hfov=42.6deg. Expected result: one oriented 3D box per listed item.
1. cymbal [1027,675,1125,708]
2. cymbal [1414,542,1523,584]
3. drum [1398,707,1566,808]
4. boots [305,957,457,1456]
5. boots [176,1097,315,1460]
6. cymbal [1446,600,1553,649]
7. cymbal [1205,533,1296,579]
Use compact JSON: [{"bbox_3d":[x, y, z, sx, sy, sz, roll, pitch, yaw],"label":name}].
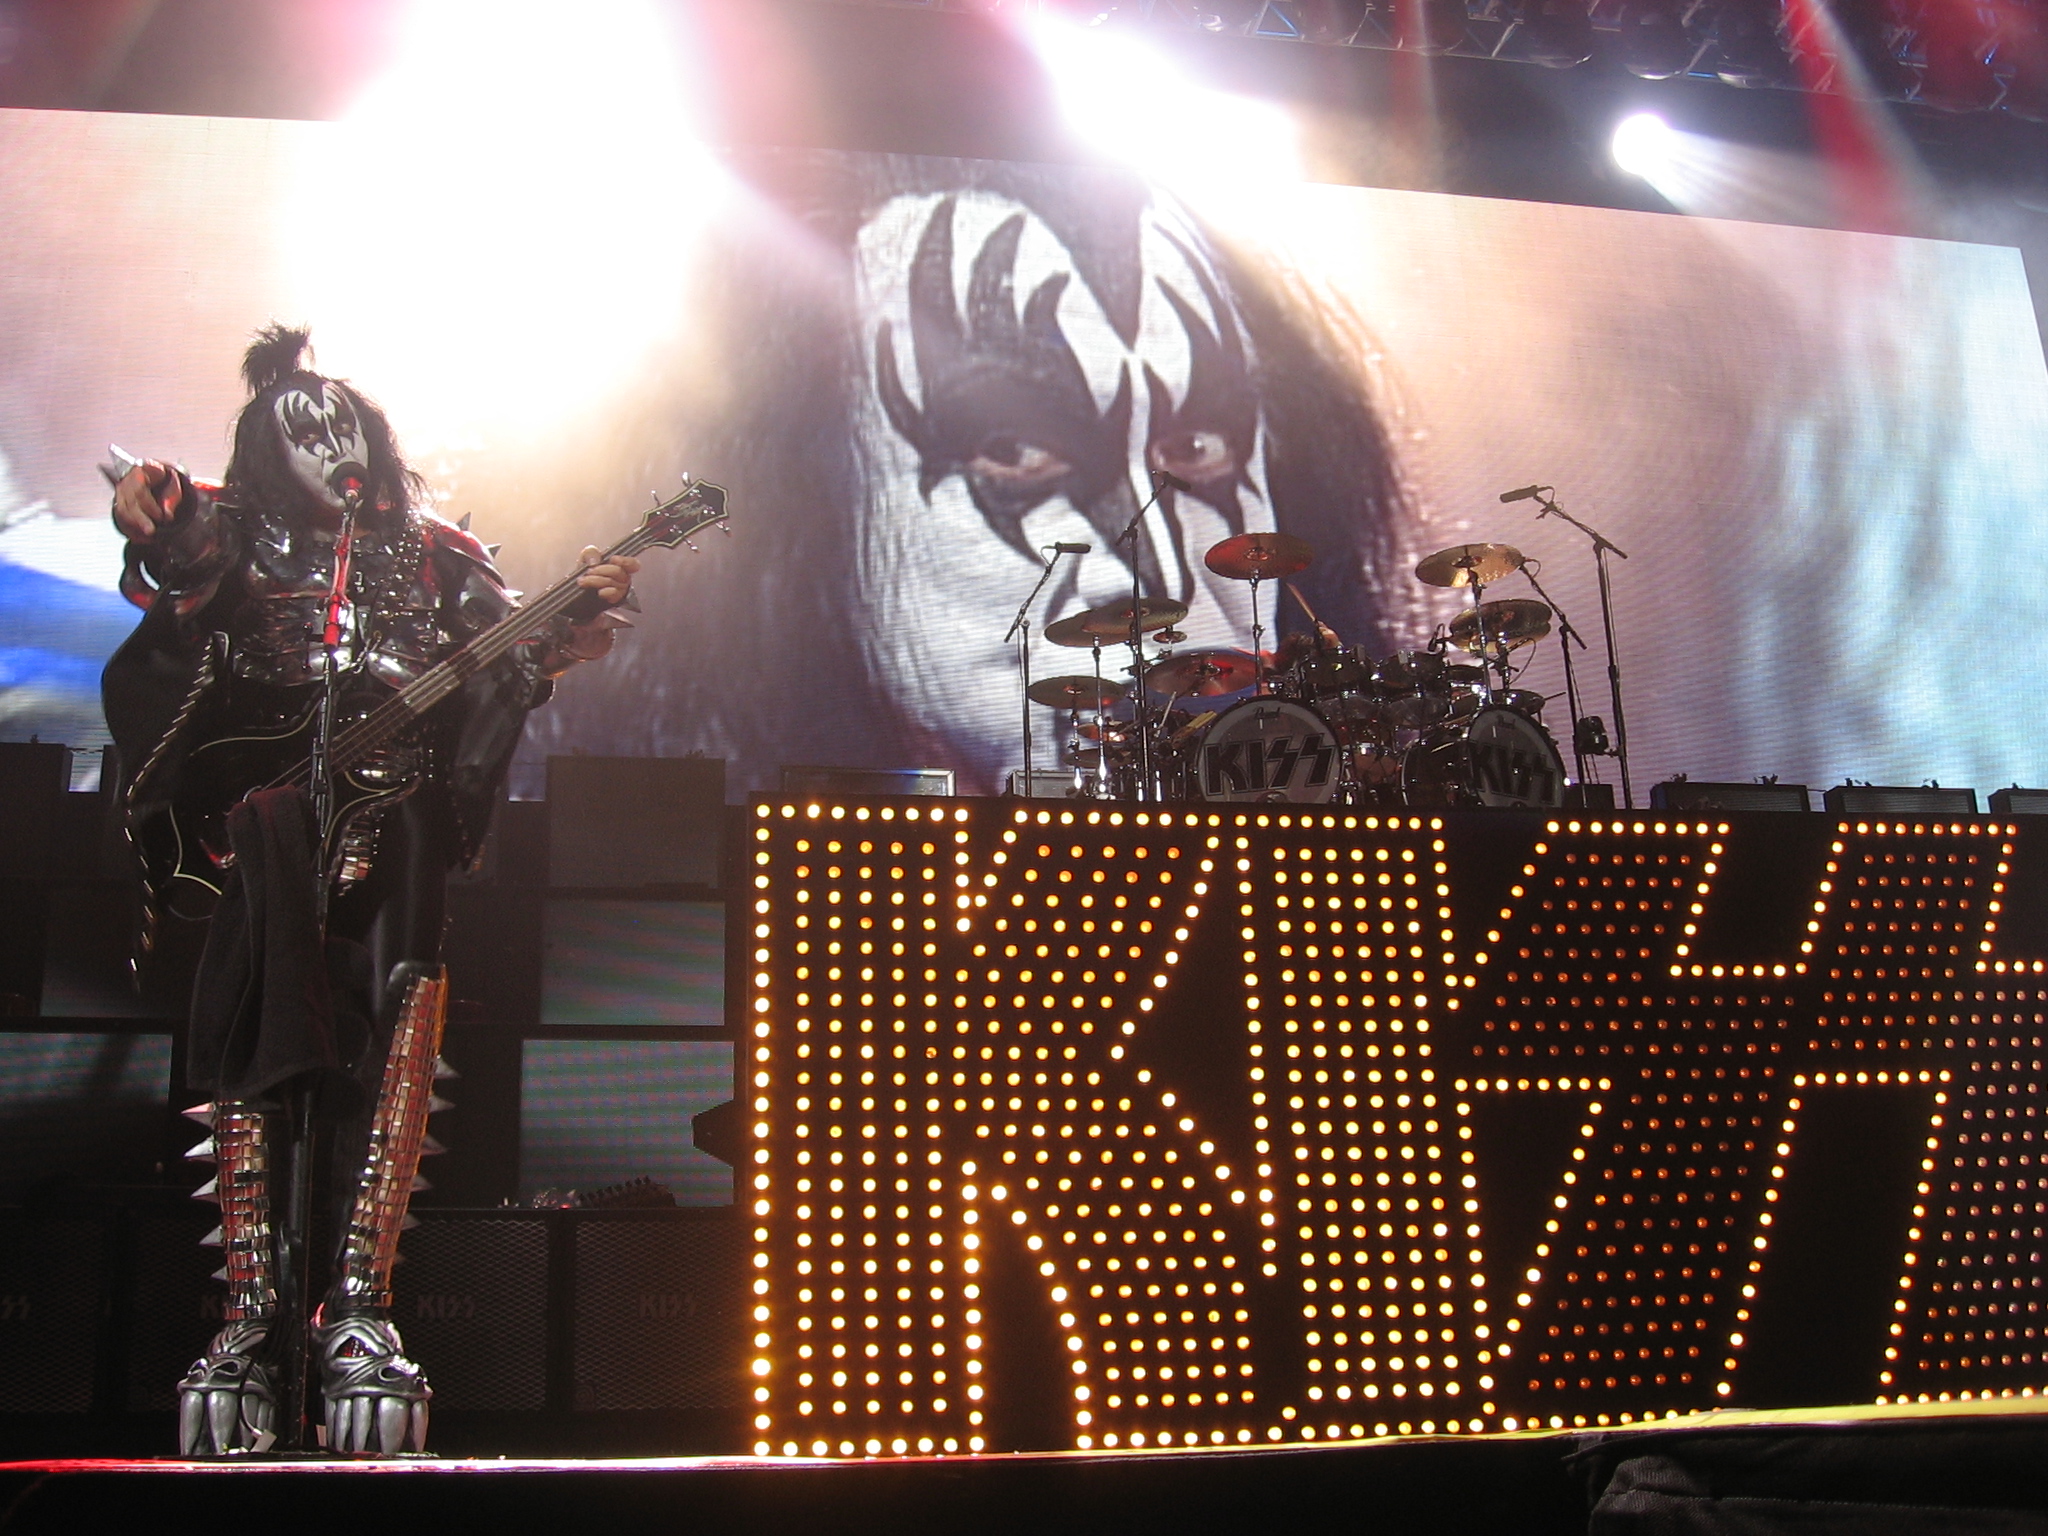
[{"bbox_3d":[0.263,-0.347,12.517,0.454,0.162,0.496,1,-6,6],"label":"cymbal"},{"bbox_3d":[2.107,-0.981,12.546,0.291,0.071,0.298,-7,-24,19],"label":"cymbal"},{"bbox_3d":[1.996,-0.066,11.513,0.730,0.475,0.486,6,-7,-39],"label":"drum"},{"bbox_3d":[-2.107,1.417,8.631,0.357,1.559,0.552,3,-5,-14],"label":"boots"},{"bbox_3d":[-2.507,1.628,8.516,0.455,1.098,0.290,1,-5,2],"label":"boots"},{"bbox_3d":[2.243,-0.696,12.500,0.302,0.074,0.308,-17,-19,42],"label":"cymbal"},{"bbox_3d":[1.085,-1.009,12.526,0.456,0.182,0.383,0,-6,9],"label":"cymbal"}]
